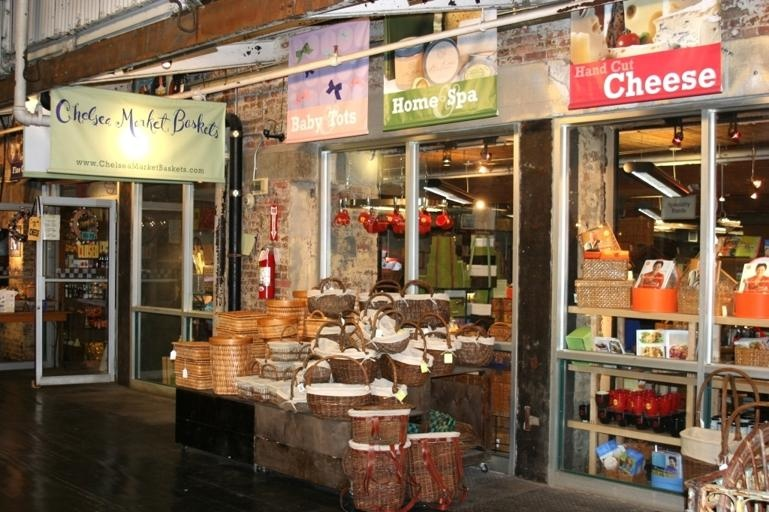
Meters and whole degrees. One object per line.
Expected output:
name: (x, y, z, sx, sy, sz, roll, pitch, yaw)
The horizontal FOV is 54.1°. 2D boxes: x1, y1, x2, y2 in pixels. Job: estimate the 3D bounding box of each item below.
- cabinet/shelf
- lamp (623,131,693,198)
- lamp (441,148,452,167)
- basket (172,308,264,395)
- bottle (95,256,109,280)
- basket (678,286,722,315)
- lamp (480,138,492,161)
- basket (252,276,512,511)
cabinet/shelf: (2.658, 1.233, 6.934, 1.671, 1.548, 0.532, 4, 7, 31)
lamp: (2.883, -0.911, 7.990, 0.712, 0.163, 0.365, 25, -14, -26)
lamp: (0.733, -1.133, 8.793, 0.106, 0.202, 0.135, 1, 4, 6)
basket: (-1.903, 1.097, 8.767, 0.914, 0.669, 0.901, 2, -5, -35)
bottle: (-4.674, 0.211, 12.514, 0.281, 0.384, 0.087, 2, 4, 21)
basket: (3.004, 0.416, 7.161, 0.275, 0.271, 0.284, 2, -2, -37)
lamp: (1.150, -1.184, 8.505, 0.102, 0.251, 0.211, -1, 4, -11)
basket: (-0.077, 1.367, 7.954, 2.220, 1.410, 2.319, -1, -1, 9)
